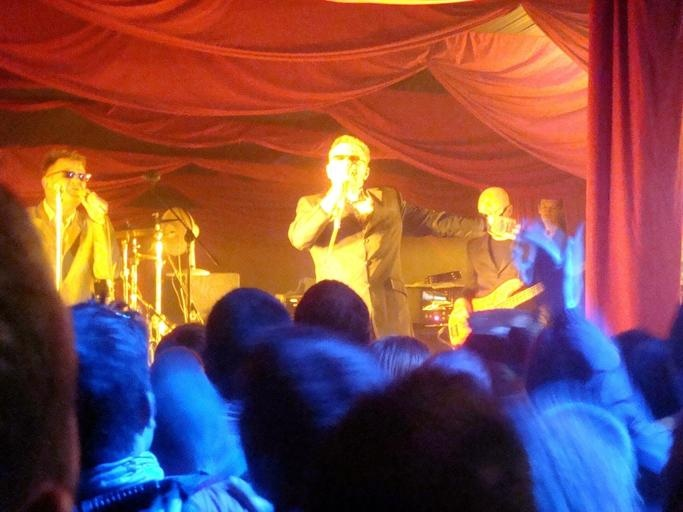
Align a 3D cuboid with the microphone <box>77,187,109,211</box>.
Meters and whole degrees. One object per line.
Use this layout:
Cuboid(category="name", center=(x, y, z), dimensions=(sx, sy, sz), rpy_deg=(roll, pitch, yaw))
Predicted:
Cuboid(category="microphone", center=(-1.965, -0.459, 5.544), dimensions=(0.171, 0.069, 0.235), rpy_deg=(-33, -52, 11))
